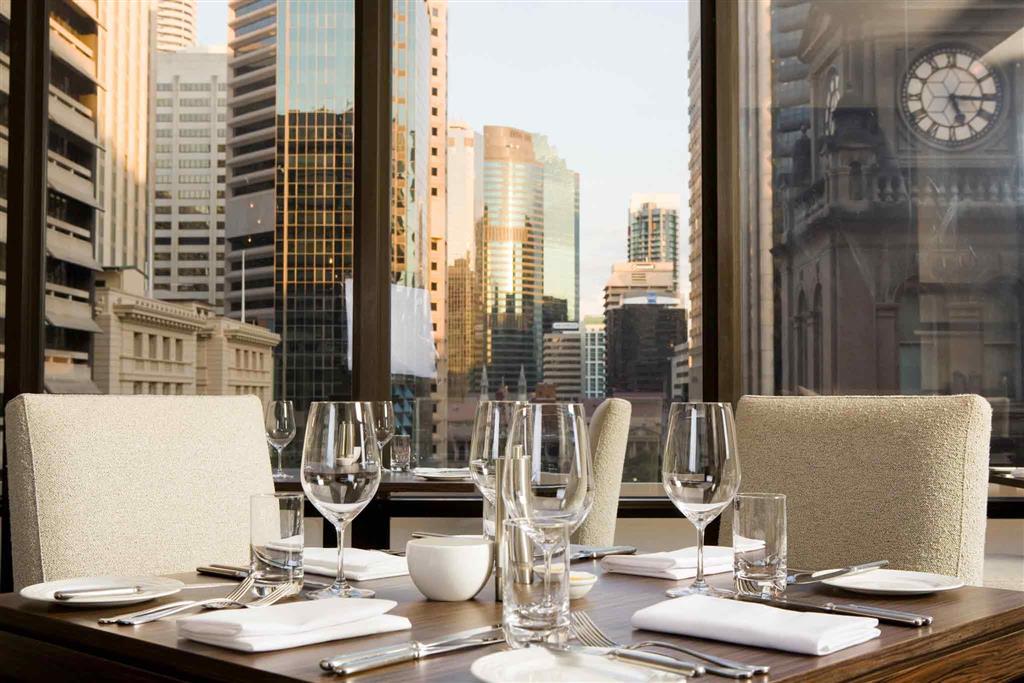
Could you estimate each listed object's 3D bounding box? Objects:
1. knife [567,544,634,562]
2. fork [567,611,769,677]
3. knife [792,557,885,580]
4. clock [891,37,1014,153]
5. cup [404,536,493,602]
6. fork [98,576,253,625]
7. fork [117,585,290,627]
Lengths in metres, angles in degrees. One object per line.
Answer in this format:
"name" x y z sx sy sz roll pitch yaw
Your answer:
"knife" 0.216 0.512 2.900 0.219 0.016 0.053 4 1 -44
"fork" 0.325 0.616 2.390 0.306 0.054 0.073 6 4 34
"knife" 0.783 0.539 2.806 0.218 0.035 0.030 -7 -40 10
"clock" 1.619 -0.922 4.401 0.374 0.439 0.031 -1 -4 -9
"cup" -0.133 0.516 2.622 0.134 0.099 0.144 -3 -11 -1
"fork" -0.733 0.562 2.554 0.046 0.060 0.357 2 -4 38
"fork" -0.657 0.566 2.519 0.391 0.063 0.053 1 3 -38
